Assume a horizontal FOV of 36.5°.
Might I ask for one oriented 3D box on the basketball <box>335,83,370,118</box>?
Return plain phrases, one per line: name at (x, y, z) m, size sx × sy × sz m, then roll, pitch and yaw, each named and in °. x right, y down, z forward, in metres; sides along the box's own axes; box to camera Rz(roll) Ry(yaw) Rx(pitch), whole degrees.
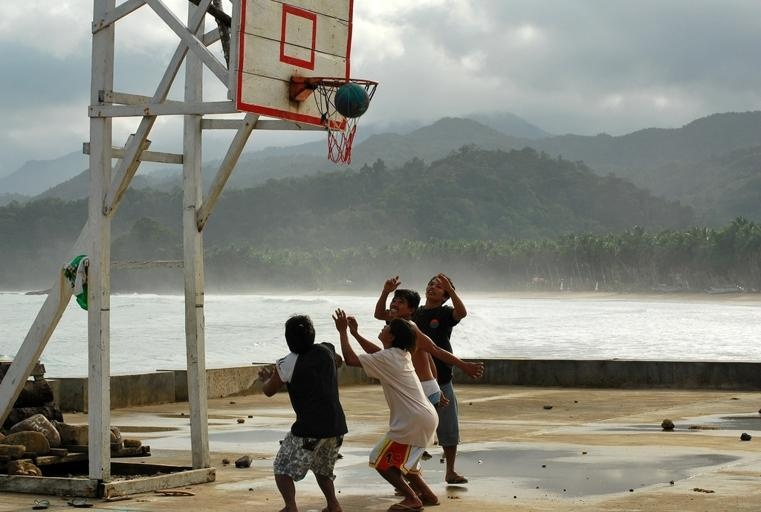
basketball at (-0.343, -1.895, 14.224) m, size 0.477 × 0.436 × 0.461 m, roll -1°, pitch 10°, yaw -26°
